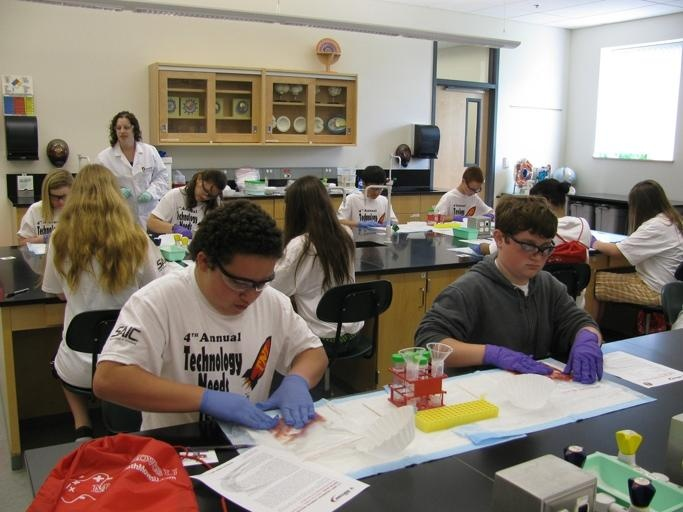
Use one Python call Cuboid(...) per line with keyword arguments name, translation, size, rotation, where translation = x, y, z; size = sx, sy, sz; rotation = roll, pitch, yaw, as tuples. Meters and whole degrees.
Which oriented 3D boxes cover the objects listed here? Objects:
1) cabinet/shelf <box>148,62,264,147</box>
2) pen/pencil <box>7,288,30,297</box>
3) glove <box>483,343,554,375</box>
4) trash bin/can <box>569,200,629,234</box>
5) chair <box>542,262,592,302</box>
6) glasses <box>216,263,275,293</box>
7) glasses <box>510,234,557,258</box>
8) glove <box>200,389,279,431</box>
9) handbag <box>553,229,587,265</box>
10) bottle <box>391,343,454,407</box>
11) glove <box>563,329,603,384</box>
Cuboid(name="cabinet/shelf", translation=(-1.555, -1.704, 6.053), size=(1.033, 0.767, 0.277), rotation=(-2, 6, -30))
Cuboid(name="pen/pencil", translation=(-1.681, 0.182, 2.831), size=(0.025, 0.030, 0.111), rotation=(21, 24, 38))
Cuboid(name="glove", translation=(0.678, 0.407, 2.093), size=(0.187, 0.061, 0.118), rotation=(18, 12, 11))
Cuboid(name="trash bin/can", translation=(3.256, -0.488, 6.737), size=(0.351, 0.516, 0.502), rotation=(-8, 16, -28))
Cuboid(name="chair", translation=(1.488, 0.114, 3.605), size=(0.252, 0.351, 0.334), rotation=(6, 27, 18))
Cuboid(name="glasses", translation=(-0.295, 0.070, 1.659), size=(0.169, 0.096, 0.049), rotation=(-2, 13, -16))
Cuboid(name="glasses", translation=(0.804, -0.036, 2.246), size=(0.102, 0.035, 0.106), rotation=(8, 12, -23))
Cuboid(name="glove", translation=(-0.312, 0.475, 1.673), size=(0.213, 0.065, 0.111), rotation=(21, 8, -6))
Cuboid(name="handbag", translation=(1.526, -0.055, 3.631), size=(0.235, 0.120, 0.168), rotation=(-16, 22, -38))
Cuboid(name="bottle", translation=(0.246, 0.361, 1.883), size=(0.184, 0.249, 0.211), rotation=(-3, 7, -40))
Cuboid(name="glove", translation=(0.956, 0.395, 2.120), size=(0.122, 0.069, 0.212), rotation=(-12, 41, 29))
